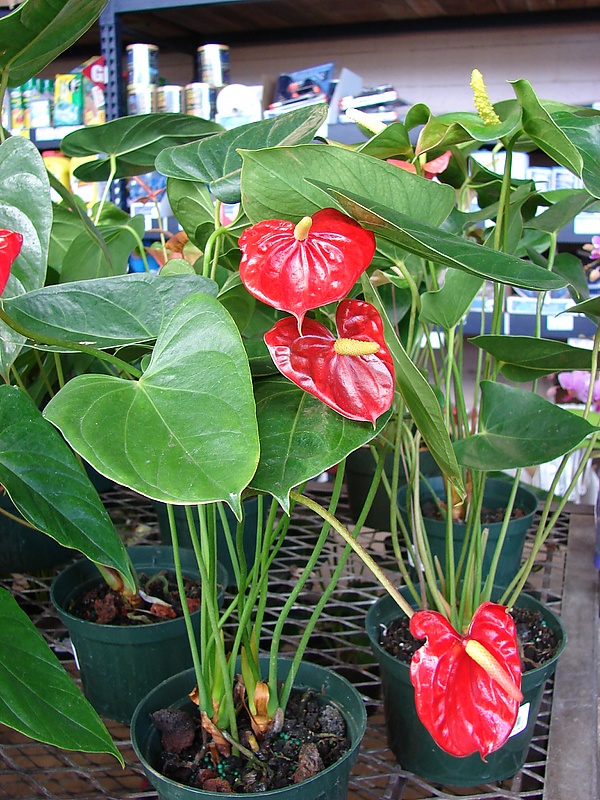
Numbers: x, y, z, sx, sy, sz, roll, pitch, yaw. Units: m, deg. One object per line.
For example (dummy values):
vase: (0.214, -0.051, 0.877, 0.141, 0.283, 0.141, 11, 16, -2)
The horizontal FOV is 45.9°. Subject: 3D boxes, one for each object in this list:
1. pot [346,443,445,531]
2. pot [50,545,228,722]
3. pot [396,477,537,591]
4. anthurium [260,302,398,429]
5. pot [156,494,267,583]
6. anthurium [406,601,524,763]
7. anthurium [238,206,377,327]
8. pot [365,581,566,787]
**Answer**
pot: (0.132, 0.128, 1.070, 0.171, 0.121, 0.176, 1, 0, 0)
pot: (-0.141, 0.209, 0.693, 0.164, 0.110, 0.167, 1, 15, 0)
pot: (0.201, 0.144, 0.860, 0.161, 0.111, 0.162, -2, 12, 0)
anthurium: (0.008, -0.011, 0.351, 0.060, 0.058, 0.023, -29, 1, -27)
pot: (-0.117, 0.150, 0.896, 0.148, 0.105, 0.151, -1, -4, 0)
anthurium: (0.079, 0.130, 0.342, 0.049, 0.056, 0.063, 1, 9, 14)
anthurium: (0.002, -0.067, 0.318, 0.063, 0.057, 0.031, 14, -34, 4)
pot: (0.106, 0.247, 0.583, 0.183, 0.110, 0.158, -2, 17, -4)
